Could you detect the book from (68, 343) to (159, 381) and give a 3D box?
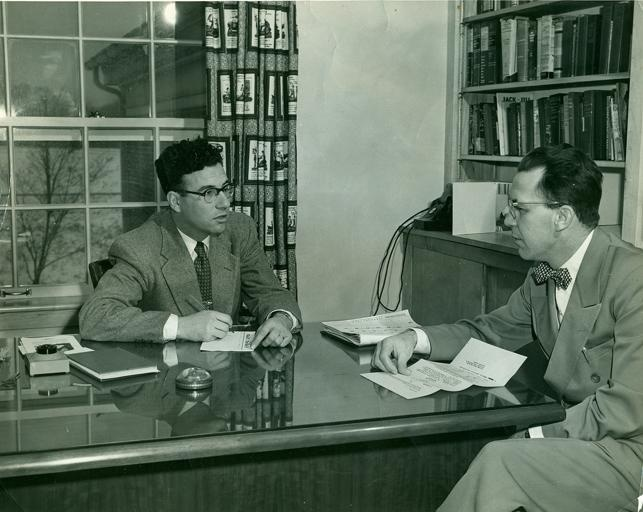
[{"bbox_3d":[-0.616,0.305,2.061,0.118,0.020,0.165,-5,12,-43],"label":"book"}]
